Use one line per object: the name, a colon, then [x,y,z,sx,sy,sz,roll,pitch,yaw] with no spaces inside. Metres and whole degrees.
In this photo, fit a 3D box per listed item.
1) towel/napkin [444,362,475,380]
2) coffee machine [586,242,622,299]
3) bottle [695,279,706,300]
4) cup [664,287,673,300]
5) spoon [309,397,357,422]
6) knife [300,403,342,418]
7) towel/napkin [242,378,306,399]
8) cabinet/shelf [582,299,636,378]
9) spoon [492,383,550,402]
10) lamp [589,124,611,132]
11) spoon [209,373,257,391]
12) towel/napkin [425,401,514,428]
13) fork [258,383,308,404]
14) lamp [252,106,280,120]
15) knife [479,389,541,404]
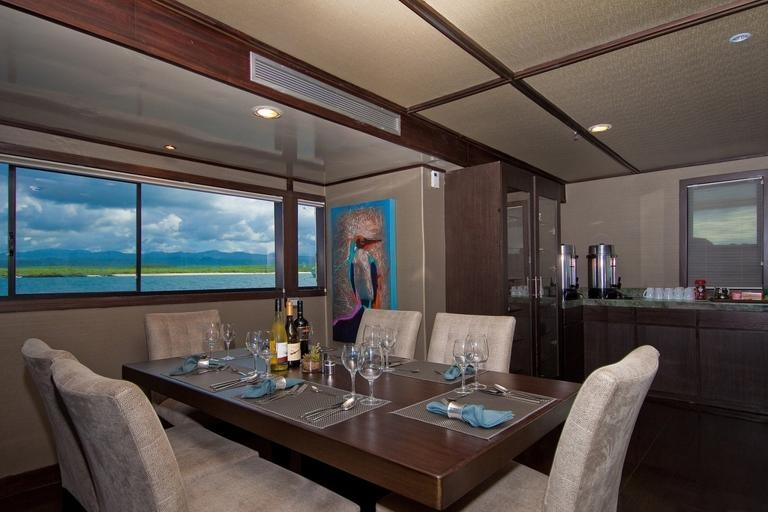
towel/napkin: [0.482,0.726,3.112,0.160,0.046,0.118,-1,2,-44]
coffee machine: [2.836,0.197,6.209,0.487,0.666,0.449,-1,-1,-33]
bottle: [3.566,0.373,5.369,0.080,0.166,0.235,6,12,28]
cup: [3.264,0.421,5.458,0.089,0.094,0.132,5,12,26]
spoon: [-0.281,0.820,2.631,0.085,0.048,0.323,1,0,33]
knife: [-0.350,0.827,2.610,0.064,0.016,0.240,4,1,39]
towel/napkin: [-0.665,0.766,2.883,0.332,0.068,0.124,5,2,-37]
cabinet/shelf: [2.583,0.963,5.554,0.559,0.744,0.514,8,-9,-32]
spoon: [0.790,0.791,2.805,0.096,0.052,0.382,1,0,-36]
lamp: [2.336,-1.362,5.165,0.229,0.081,0.317,4,10,23]
spoon: [-0.957,0.772,3.014,0.087,0.043,0.317,0,-2,28]
towel/napkin: [0.458,0.825,2.545,0.274,0.064,0.179,4,8,40]
fork: [-0.566,0.795,2.845,0.070,0.044,0.458,3,1,30]
lamp: [-0.947,-1.152,3.880,0.214,0.065,0.203,-2,10,-9]
knife: [0.731,0.804,2.810,0.367,0.037,0.097,2,2,36]
